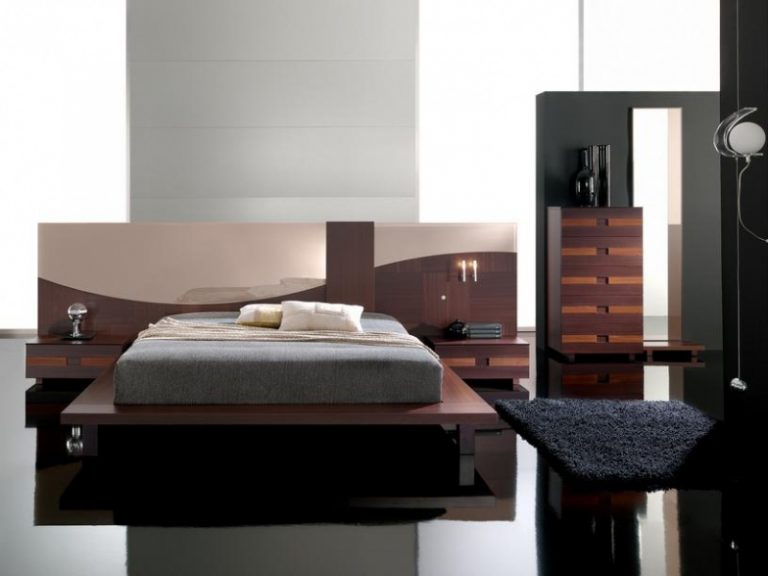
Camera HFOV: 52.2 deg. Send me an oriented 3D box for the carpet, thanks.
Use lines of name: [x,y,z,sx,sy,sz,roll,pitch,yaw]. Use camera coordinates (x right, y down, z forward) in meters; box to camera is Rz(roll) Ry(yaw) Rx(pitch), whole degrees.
carpet: [1.552,0.946,5.033,1.346,0.202,1.293,-1,4,-7]

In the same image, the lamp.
lamp: [2.481,-0.293,5.431,0.201,1.884,0.374,-2,4,-30]

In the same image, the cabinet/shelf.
cabinet/shelf: [1.965,-0.057,7.283,0.884,1.403,0.436,0,3,13]

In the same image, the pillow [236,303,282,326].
pillow: [-0.988,0.220,6.205,0.354,0.169,0.251,-1,4,-8]

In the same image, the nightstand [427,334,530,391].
nightstand: [0.780,0.610,6.449,0.806,0.323,0.532,0,4,6]

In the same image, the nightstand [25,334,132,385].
nightstand: [-2.544,0.666,6.534,0.713,0.330,0.487,1,-11,-7]
